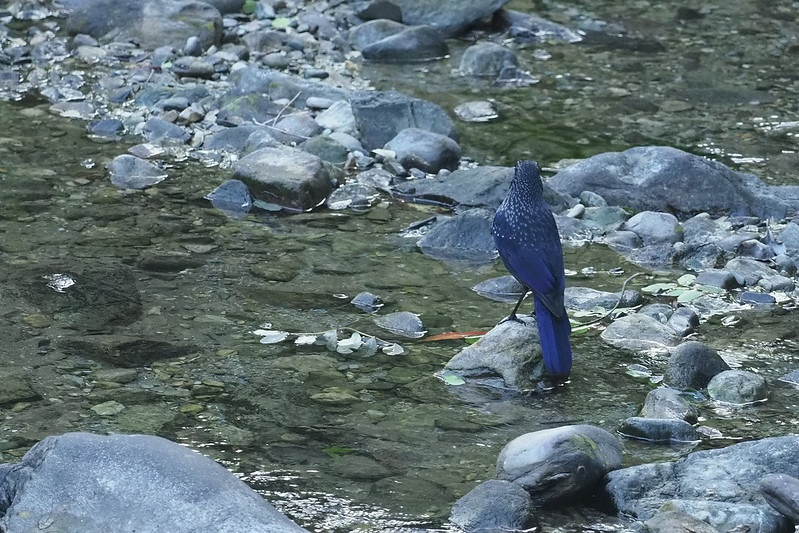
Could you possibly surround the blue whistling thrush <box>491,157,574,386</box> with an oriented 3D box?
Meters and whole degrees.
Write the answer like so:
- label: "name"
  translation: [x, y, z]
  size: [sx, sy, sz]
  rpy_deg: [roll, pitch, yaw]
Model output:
- label: "blue whistling thrush"
  translation: [0.981, -0.004, 8.088]
  size: [0.427, 1.539, 0.677]
  rpy_deg: [-7, 11, -9]
